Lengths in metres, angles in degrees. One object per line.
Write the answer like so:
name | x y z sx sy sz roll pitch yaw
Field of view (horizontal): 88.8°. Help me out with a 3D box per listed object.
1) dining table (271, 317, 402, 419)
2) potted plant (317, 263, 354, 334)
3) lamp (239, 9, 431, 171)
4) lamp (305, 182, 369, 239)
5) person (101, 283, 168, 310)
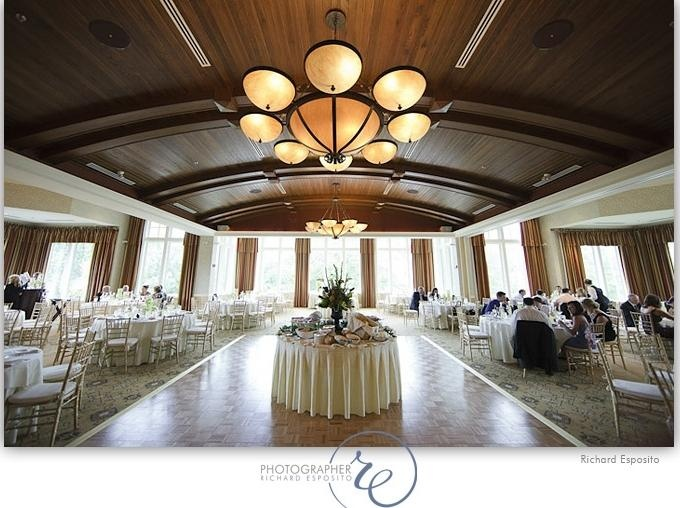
dining table | -0.069 1.670 5.492 2.044 0.963 1.935 -1 -1 43
potted plant | -0.090 0.632 5.110 0.501 0.780 0.465 -3 3 -7
lamp | -0.060 -1.903 3.897 2.003 1.793 1.073 3 12 13
lamp | -0.126 -1.127 8.726 1.629 1.330 1.612 -1 -6 6
person | -5.742 1.108 9.503 1.401 0.351 0.806 1 -1 -10
